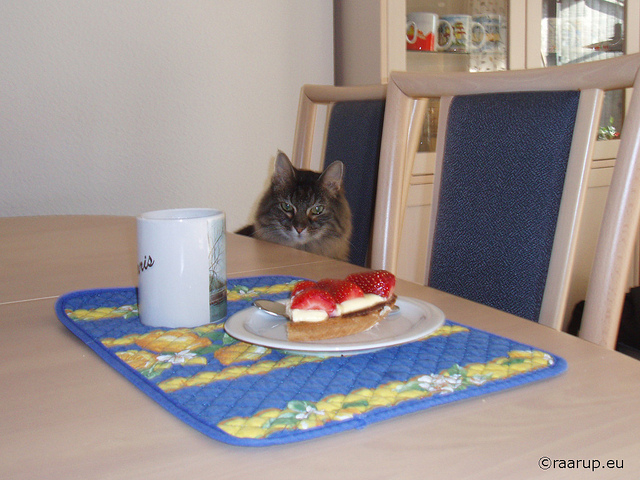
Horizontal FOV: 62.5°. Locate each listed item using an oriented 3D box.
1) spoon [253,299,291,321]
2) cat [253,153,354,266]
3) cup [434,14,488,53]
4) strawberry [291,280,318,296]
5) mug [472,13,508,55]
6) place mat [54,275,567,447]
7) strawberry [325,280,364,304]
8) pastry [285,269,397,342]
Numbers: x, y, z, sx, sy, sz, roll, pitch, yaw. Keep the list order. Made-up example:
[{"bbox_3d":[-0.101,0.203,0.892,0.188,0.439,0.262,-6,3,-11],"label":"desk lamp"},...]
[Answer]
[{"bbox_3d":[-0.054,0.077,0.584,0.035,0.005,0.020,12,6,-25],"label":"spoon"},{"bbox_3d":[-0.048,-0.112,1.518,0.268,0.324,0.191,7,42,1],"label":"cat"},{"bbox_3d":[0.612,-0.894,2.302,0.246,0.148,0.141,-1,16,-7],"label":"cup"},{"bbox_3d":[-0.017,0.052,0.589,0.024,0.013,0.020,5,-19,-37],"label":"strawberry"},{"bbox_3d":[0.725,-0.920,2.364,0.185,0.155,0.137,-9,33,-2],"label":"mug"},{"bbox_3d":[-0.044,0.118,0.630,0.387,0.004,0.556,-3,3,-30],"label":"place mat"},{"bbox_3d":[0.026,0.053,0.542,0.029,0.015,0.023,5,3,-5],"label":"strawberry"},{"bbox_3d":[0.018,0.062,0.579,0.092,0.062,0.104,-4,9,-41],"label":"pastry"}]
